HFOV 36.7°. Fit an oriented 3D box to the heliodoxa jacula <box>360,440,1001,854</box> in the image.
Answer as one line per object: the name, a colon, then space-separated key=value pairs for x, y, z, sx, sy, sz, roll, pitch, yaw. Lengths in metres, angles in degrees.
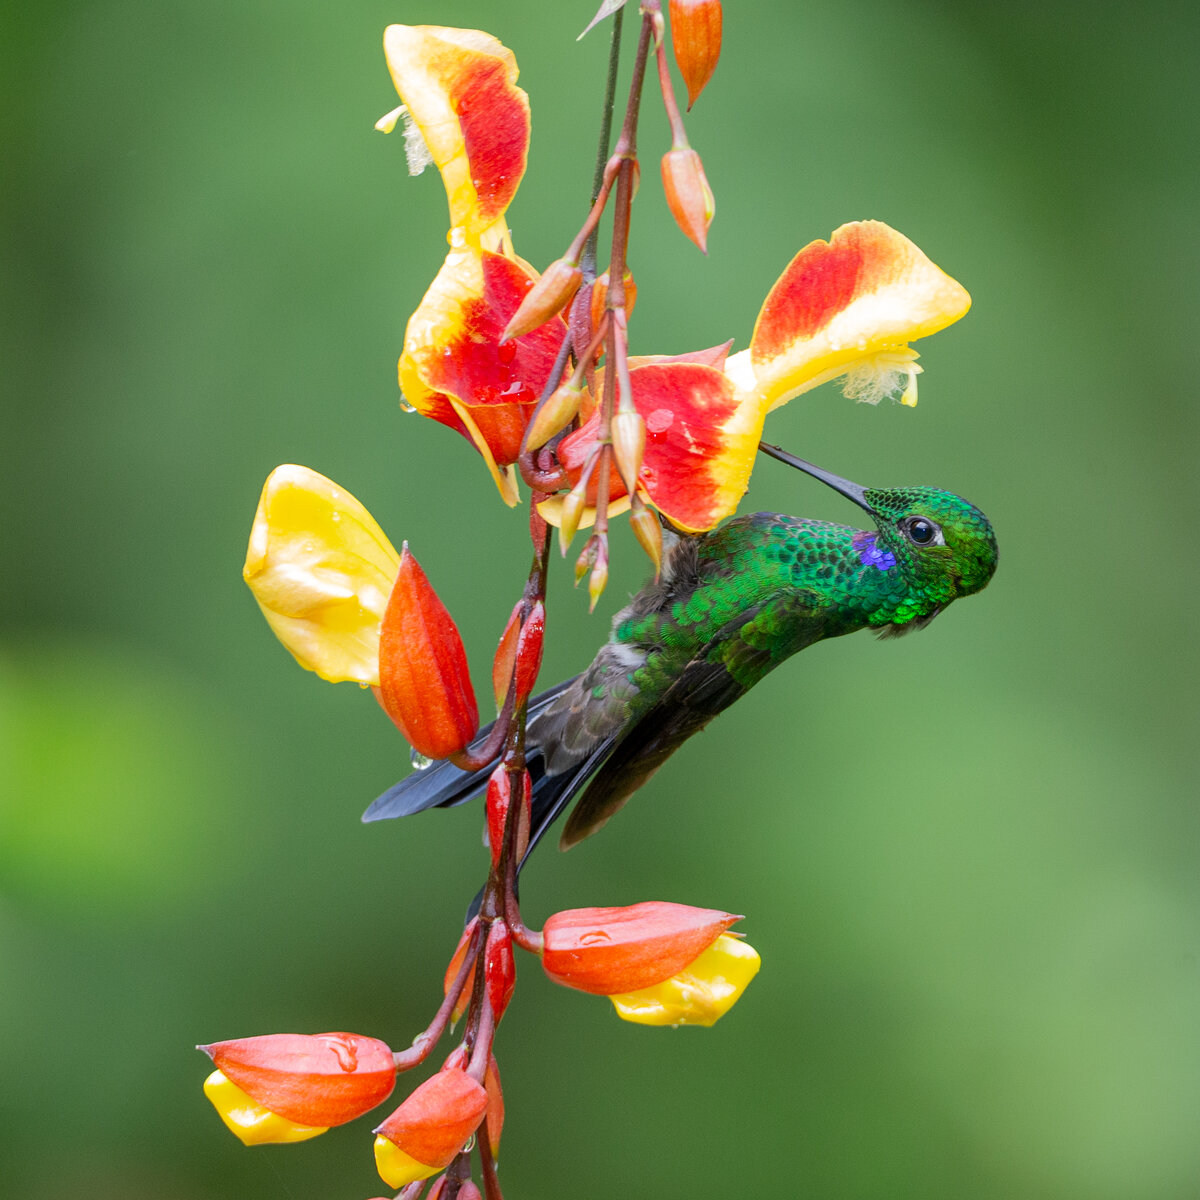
heliodoxa jacula: x=0.081 y=0.046 z=1.321 sx=0.425 sy=0.310 sz=0.153 roll=-3 pitch=-11 yaw=7
